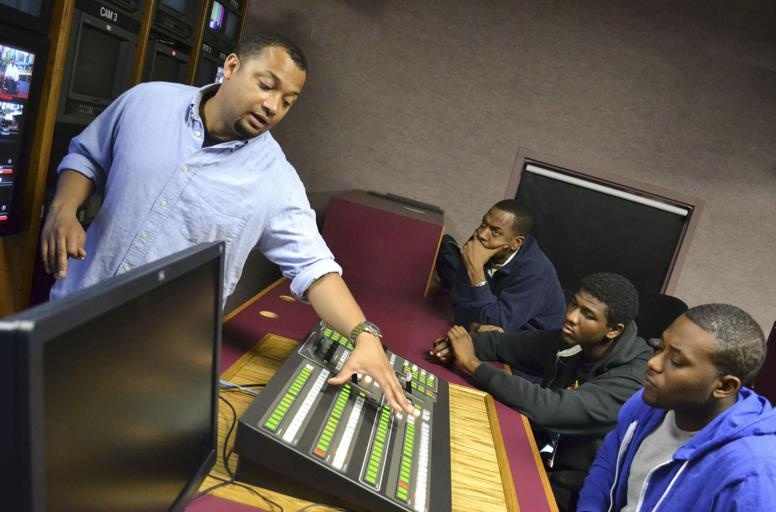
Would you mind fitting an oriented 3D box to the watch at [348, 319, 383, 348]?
[{"bbox_3d":[-0.077,0.227,1.583,0.058,0.081,0.089,34,24,23],"label":"watch"}]

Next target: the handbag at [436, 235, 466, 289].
[{"bbox_3d":[0.351,0.039,3.205,0.108,0.275,0.162,-17,-11,7],"label":"handbag"}]
